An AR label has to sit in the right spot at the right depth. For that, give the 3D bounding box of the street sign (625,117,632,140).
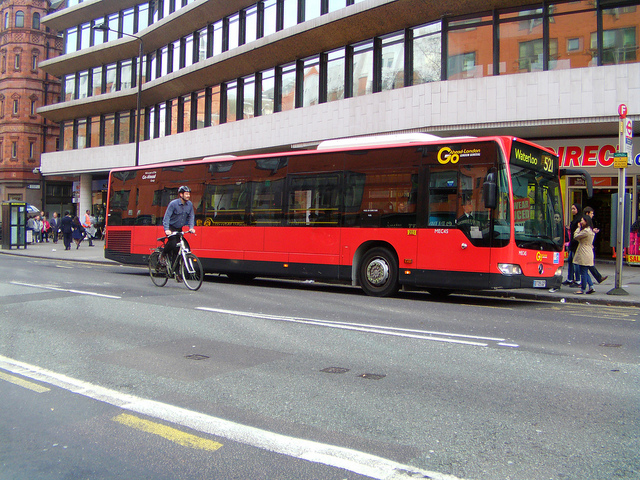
[{"bbox_3d":[7.582,-2.734,13.685,0.081,0.506,0.463,3,4,41],"label":"street sign"}]

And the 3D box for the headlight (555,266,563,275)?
[{"bbox_3d":[5.359,0.714,12.460,0.156,0.210,0.078,18,4,30],"label":"headlight"}]

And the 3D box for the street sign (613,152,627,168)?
[{"bbox_3d":[7.368,-1.946,13.601,0.278,0.369,0.329,2,3,27],"label":"street sign"}]

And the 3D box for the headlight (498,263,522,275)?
[{"bbox_3d":[3.912,0.599,11.431,0.503,0.234,0.096,0,3,-15],"label":"headlight"}]

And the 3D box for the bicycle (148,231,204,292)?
[{"bbox_3d":[-3.641,0.492,13.752,2.169,1.436,0.885,3,4,40],"label":"bicycle"}]

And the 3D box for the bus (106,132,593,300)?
[{"bbox_3d":[-0.746,-0.786,15.962,15.383,3.859,2.913,3,4,36],"label":"bus"}]

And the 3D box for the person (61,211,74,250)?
[{"bbox_3d":[-14.303,-0.426,31.502,0.626,1.982,1.244,0,3,-26],"label":"person"}]

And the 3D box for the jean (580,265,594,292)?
[{"bbox_3d":[6.656,0.974,13.875,0.293,0.697,0.500,3,3,31],"label":"jean"}]

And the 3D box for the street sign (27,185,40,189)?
[{"bbox_3d":[-28.829,-5.306,55.894,1.012,0.424,1.930,-1,4,-27],"label":"street sign"}]

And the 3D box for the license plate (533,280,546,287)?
[{"bbox_3d":[4.688,0.936,11.851,0.521,0.170,0.037,-2,4,-43],"label":"license plate"}]

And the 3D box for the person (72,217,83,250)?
[{"bbox_3d":[-14.136,-0.368,32.360,0.538,1.826,1.205,0,3,-24],"label":"person"}]

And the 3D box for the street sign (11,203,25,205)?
[{"bbox_3d":[-17.063,-2.016,31.349,0.652,0.082,0.245,-1,4,-35],"label":"street sign"}]
